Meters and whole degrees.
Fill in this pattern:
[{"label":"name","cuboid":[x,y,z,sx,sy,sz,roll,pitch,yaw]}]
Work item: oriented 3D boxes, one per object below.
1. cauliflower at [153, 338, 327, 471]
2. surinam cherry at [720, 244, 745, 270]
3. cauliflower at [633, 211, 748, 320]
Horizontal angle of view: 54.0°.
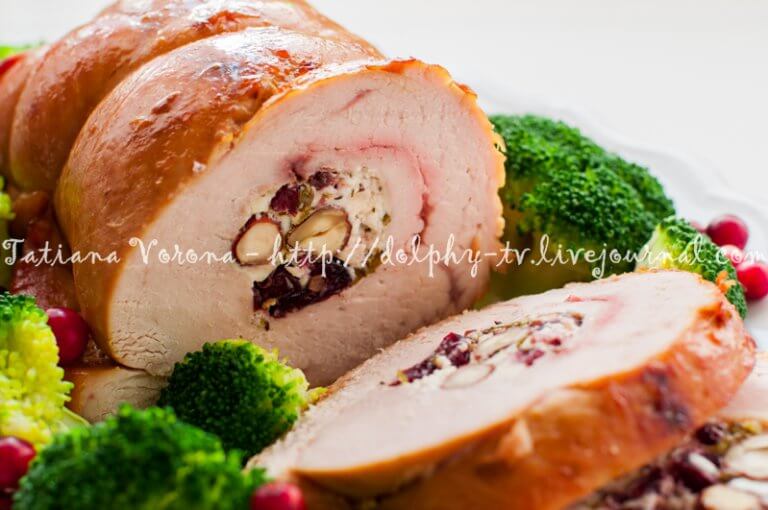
[{"label":"cauliflower","cuboid":[-0.421,0.434,2.526,0.515,0.356,0.618,2,1,17]},{"label":"surinam cherry","cuboid":[1.387,-0.010,3.002,0.109,0.119,0.113,3,3,18]},{"label":"cauliflower","cuboid":[1.137,0.125,2.781,0.422,0.156,0.352,43,13,-26]}]
